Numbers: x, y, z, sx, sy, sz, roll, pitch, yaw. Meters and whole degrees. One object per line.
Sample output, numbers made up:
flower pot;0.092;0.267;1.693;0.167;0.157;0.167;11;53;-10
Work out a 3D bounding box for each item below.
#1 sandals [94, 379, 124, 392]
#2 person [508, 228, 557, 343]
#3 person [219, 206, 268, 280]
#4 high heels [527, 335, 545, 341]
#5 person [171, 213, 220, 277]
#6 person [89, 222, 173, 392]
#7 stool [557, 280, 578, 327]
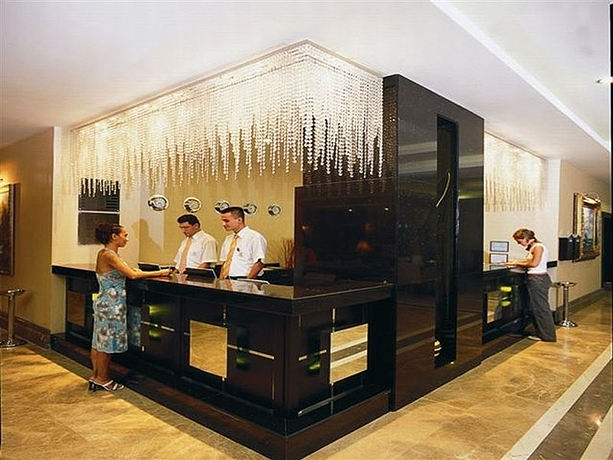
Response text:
sandals;-2.391;1.864;5.493;0.259;0.083;0.140;1;-3;-18
person;3.872;0.925;7.881;0.672;1.868;0.699;0;7;-8
person;-0.860;0.177;6.230;0.627;0.966;0.392;5;8;32
high heels;3.890;1.843;7.822;0.061;0.069;0.175;2;-7;-38
person;-1.857;0.264;7.521;0.938;1.179;0.625;-9;-9;36
person;-2.287;0.916;5.591;0.734;1.984;0.638;-3;7;-26
stool;5.263;1.400;9.283;0.365;0.891;1.435;4;8;29
